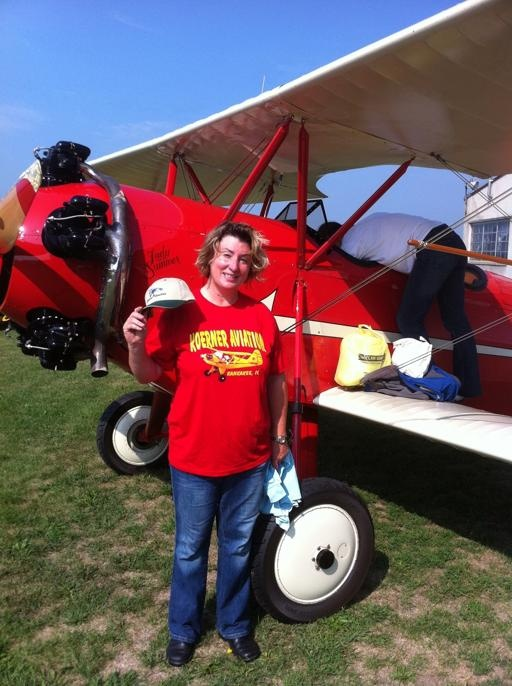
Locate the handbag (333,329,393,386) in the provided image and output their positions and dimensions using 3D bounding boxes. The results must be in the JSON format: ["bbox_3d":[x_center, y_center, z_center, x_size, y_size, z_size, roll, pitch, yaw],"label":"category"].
[{"bbox_3d":[0.665,0.101,3.186,0.303,0.210,0.381,7,50,6],"label":"handbag"}]

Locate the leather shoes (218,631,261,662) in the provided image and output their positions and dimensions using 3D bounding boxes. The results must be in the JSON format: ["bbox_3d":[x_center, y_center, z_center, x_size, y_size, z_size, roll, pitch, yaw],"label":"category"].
[{"bbox_3d":[-0.053,1.202,1.997,0.067,0.064,0.156,8,-18,-30],"label":"leather shoes"}]

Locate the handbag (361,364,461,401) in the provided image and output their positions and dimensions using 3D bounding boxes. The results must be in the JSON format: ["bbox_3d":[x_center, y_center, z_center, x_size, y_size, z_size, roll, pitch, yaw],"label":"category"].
[{"bbox_3d":[0.956,0.253,3.068,0.388,0.130,0.302,6,0,31],"label":"handbag"}]

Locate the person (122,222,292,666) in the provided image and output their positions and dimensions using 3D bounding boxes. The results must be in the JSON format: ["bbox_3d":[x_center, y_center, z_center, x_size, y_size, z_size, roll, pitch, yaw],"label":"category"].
[{"bbox_3d":[-0.178,0.388,1.933,0.676,1.698,0.326,3,7,-15],"label":"person"}]

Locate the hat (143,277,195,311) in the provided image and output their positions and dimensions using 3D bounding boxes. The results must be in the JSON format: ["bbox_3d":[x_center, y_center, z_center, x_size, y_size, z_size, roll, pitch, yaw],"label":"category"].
[{"bbox_3d":[-0.289,-0.164,1.689,0.157,0.106,0.099,3,6,-10],"label":"hat"}]
